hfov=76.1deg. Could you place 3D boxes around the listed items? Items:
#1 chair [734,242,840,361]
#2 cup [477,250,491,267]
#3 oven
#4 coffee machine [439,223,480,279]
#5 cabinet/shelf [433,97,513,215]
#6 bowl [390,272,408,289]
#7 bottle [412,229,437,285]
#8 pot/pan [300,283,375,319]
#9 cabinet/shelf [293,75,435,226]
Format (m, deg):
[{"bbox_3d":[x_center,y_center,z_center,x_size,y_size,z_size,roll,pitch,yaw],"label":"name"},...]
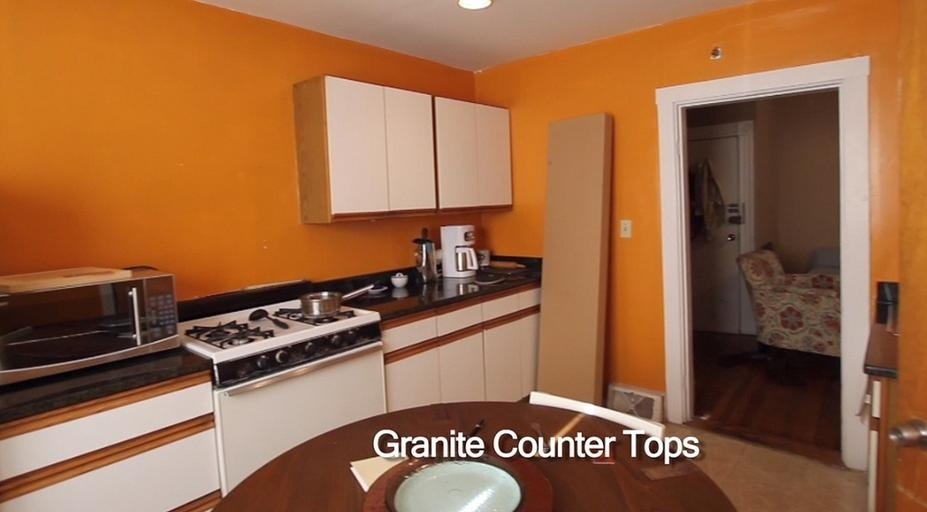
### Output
[{"bbox_3d":[3.643,0.413,6.415,1.115,0.866,1.079,-1,13,28],"label":"chair"},{"bbox_3d":[0.214,0.038,5.884,0.155,0.142,0.161,0,2,0],"label":"cup"},{"bbox_3d":[-1.112,1.067,3.819,0.563,0.909,1.050,-1,7,41],"label":"oven"},{"bbox_3d":[-0.060,-0.045,5.598,0.344,0.488,0.180,-1,8,9],"label":"coffee machine"},{"bbox_3d":[-0.023,-0.945,5.676,0.399,1.006,1.140,1,6,36],"label":"cabinet/shelf"},{"bbox_3d":[-0.566,0.219,5.323,0.146,0.112,0.127,-7,10,-32],"label":"bowl"},{"bbox_3d":[-0.358,-0.012,5.499,0.207,0.501,0.250,-3,8,-3],"label":"bottle"},{"bbox_3d":[-0.952,0.353,4.655,0.633,0.194,0.275,-7,9,-38],"label":"pot/pan"},{"bbox_3d":[-0.852,-0.870,4.879,1.306,1.044,0.453,-9,14,-38],"label":"cabinet/shelf"}]
